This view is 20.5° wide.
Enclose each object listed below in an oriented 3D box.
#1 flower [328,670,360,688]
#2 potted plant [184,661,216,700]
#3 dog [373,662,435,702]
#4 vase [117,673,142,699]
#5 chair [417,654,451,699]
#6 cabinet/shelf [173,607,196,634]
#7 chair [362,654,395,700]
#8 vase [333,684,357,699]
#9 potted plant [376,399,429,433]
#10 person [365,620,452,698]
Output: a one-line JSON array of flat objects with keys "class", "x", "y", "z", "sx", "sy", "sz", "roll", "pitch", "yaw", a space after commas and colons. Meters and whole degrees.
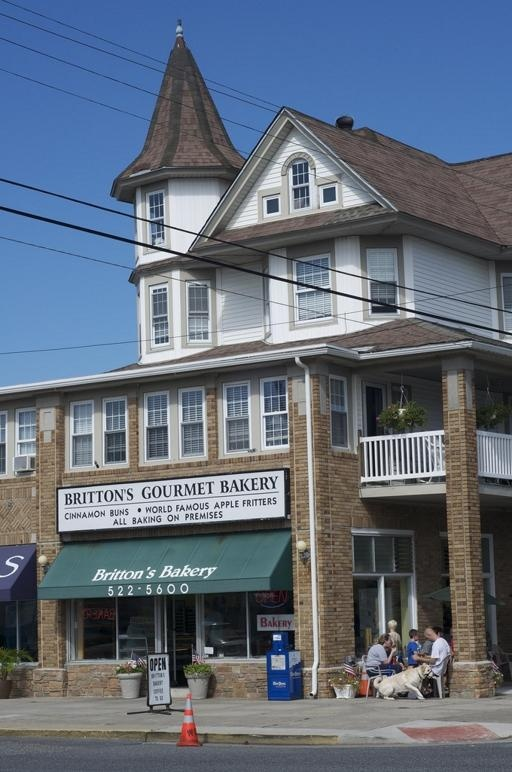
[{"class": "flower", "x": 1.653, "y": 5.559, "z": 26.936, "sx": 0.370, "sy": 0.216, "sz": 0.367, "roll": 3, "pitch": -7, "yaw": -6}, {"class": "potted plant", "x": -1.156, "y": 5.827, "z": 27.988, "sx": 0.619, "sy": 0.663, "sz": 0.632, "roll": -2, "pitch": -17, "yaw": 9}, {"class": "dog", "x": 2.685, "y": 5.485, "z": 26.145, "sx": 0.765, "sy": 0.641, "sz": 1.166, "roll": 4, "pitch": -14, "yaw": -34}, {"class": "vase", "x": -2.611, "y": 6.165, "z": 29.100, "sx": 0.511, "sy": 0.442, "sz": 0.516, "roll": -6, "pitch": -16, "yaw": 27}, {"class": "chair", "x": 3.434, "y": 5.483, "z": 26.771, "sx": 0.731, "sy": 0.956, "sz": 0.769, "roll": -1, "pitch": -9, "yaw": 17}, {"class": "cabinet/shelf", "x": -1.502, "y": 4.911, "z": 29.637, "sx": 0.284, "sy": 0.509, "sz": 0.533, "roll": 6, "pitch": -10, "yaw": -34}, {"class": "chair", "x": 2.345, "y": 5.339, "z": 27.001, "sx": 0.677, "sy": 1.133, "sz": 0.724, "roll": -3, "pitch": -14, "yaw": -1}, {"class": "vase", "x": 1.644, "y": 5.774, "z": 26.767, "sx": 0.459, "sy": 0.258, "sz": 0.281, "roll": -7, "pitch": -12, "yaw": 18}, {"class": "potted plant", "x": 2.888, "y": 0.625, "z": 28.166, "sx": 0.744, "sy": 0.593, "sz": 0.746, "roll": 2, "pitch": -6, "yaw": -27}, {"class": "person", "x": 2.823, "y": 5.345, "z": 26.478, "sx": 1.695, "sy": 1.581, "sz": 0.932, "roll": -15, "pitch": -25, "yaw": 27}]
